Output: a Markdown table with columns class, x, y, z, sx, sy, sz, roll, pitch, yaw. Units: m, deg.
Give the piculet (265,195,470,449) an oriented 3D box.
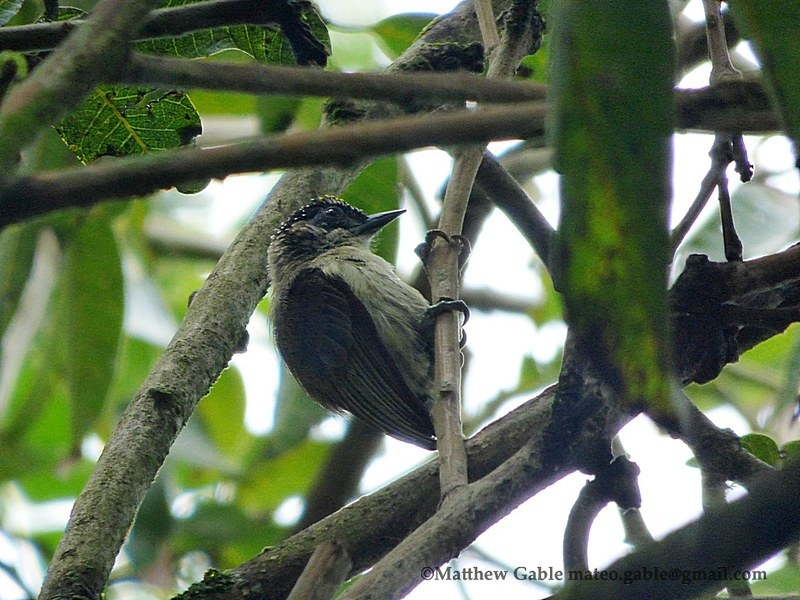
| class | x | y | z | sx | sy | sz | roll | pitch | yaw |
| --- | --- | --- | --- | --- | --- | --- | --- | --- | --- |
| piculet | -0.157 | 0.121 | 6.060 | 0.898 | 1.307 | 0.622 | -15 | -40 | -6 |
